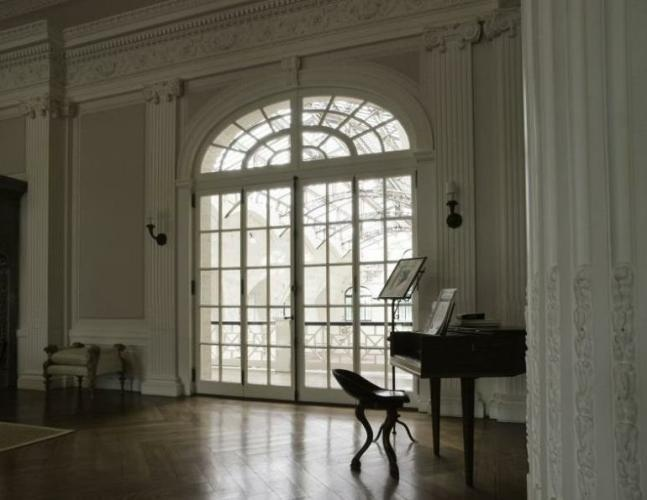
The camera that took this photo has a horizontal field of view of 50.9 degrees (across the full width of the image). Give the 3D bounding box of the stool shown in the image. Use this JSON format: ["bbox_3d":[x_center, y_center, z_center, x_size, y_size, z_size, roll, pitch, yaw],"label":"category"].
[{"bbox_3d":[-2.879,1.356,8.281,0.705,0.628,0.766,-1,-2,29],"label":"stool"}]

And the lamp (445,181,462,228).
[{"bbox_3d":[1.344,-0.460,7.034,0.168,0.490,0.124,-1,1,12],"label":"lamp"}]

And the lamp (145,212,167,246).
[{"bbox_3d":[-2.131,-0.226,8.388,0.396,0.368,0.237,0,1,40],"label":"lamp"}]

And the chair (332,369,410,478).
[{"bbox_3d":[0.387,1.300,5.236,0.662,0.910,0.628,-3,-9,6],"label":"chair"}]

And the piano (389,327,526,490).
[{"bbox_3d":[0.966,0.976,5.274,0.950,1.249,1.319,1,-5,-10],"label":"piano"}]

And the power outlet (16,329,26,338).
[{"bbox_3d":[-4.008,1.107,9.023,0.110,0.118,0.114,-3,-6,25],"label":"power outlet"}]
